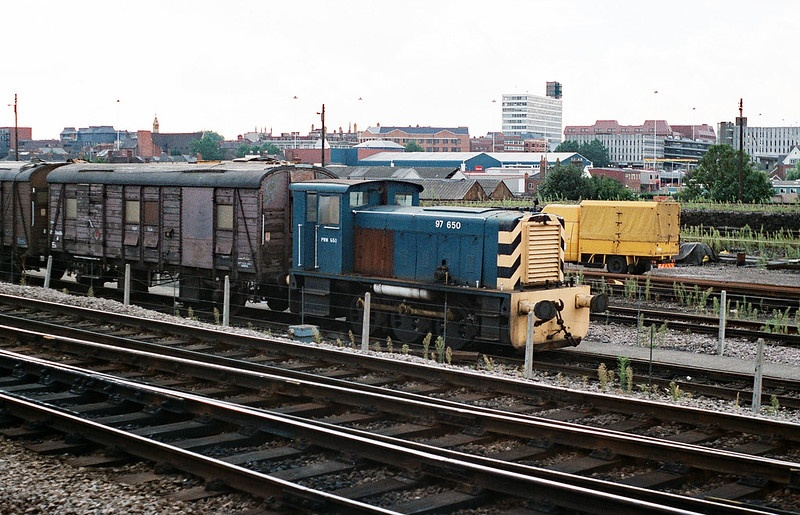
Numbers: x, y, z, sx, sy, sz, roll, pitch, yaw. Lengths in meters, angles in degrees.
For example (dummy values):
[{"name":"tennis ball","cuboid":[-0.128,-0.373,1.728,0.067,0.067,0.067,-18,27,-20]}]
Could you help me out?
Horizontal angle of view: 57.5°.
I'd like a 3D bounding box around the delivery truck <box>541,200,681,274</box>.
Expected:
[{"name":"delivery truck","cuboid":[9.946,-0.905,36.002,2.927,3.274,7.371,4,0,-42]}]
